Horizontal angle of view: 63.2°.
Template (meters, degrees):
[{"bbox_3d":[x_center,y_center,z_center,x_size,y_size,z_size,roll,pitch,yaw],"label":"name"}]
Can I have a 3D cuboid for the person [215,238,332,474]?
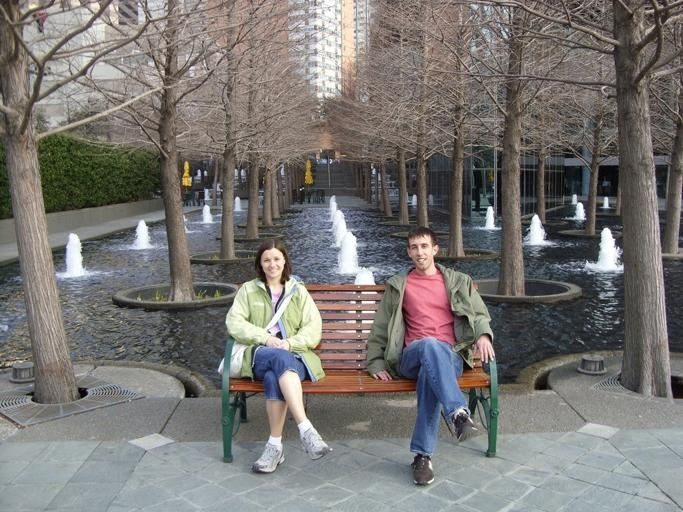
[{"bbox_3d":[-0.527,0.703,4.344,0.786,1.589,1.200,-2,7,-4],"label":"person"}]

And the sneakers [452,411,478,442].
[{"bbox_3d":[0.838,1.163,3.822,0.135,0.090,0.224,-8,15,7],"label":"sneakers"}]

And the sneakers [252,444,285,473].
[{"bbox_3d":[-0.508,1.450,3.968,0.112,0.148,0.293,1,-4,17],"label":"sneakers"}]

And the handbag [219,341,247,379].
[{"bbox_3d":[-0.823,0.813,4.269,0.194,0.269,0.095,4,-16,21],"label":"handbag"}]

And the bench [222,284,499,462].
[{"bbox_3d":[0.136,0.923,4.630,2.116,1.237,0.957,-1,5,-1],"label":"bench"}]

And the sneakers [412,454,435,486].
[{"bbox_3d":[0.544,1.462,3.732,0.081,0.096,0.238,-3,0,1],"label":"sneakers"}]

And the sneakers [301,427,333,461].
[{"bbox_3d":[-0.180,1.298,3.884,0.126,0.150,0.317,-35,3,-13],"label":"sneakers"}]

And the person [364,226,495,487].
[{"bbox_3d":[0.677,0.645,4.268,0.978,1.677,1.178,-1,7,5],"label":"person"}]
